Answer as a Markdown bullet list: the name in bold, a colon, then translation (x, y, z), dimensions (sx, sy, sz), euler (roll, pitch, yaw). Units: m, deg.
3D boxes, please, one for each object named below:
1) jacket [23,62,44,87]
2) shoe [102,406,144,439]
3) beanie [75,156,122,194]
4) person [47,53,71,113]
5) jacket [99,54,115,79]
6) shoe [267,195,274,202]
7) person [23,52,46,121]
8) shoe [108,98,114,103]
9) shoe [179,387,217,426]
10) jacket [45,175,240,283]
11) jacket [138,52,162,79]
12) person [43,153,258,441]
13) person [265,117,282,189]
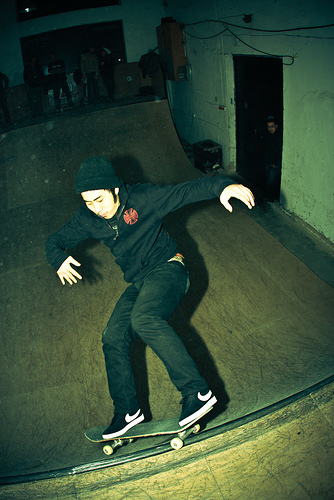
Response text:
- **jacket**: translation (-2.433, -3.135, 7.603), dimensions (0.353, 0.391, 0.273), euler (-13, 23, -14)
- **shoe**: translation (-0.228, 0.874, 2.189), dimensions (0.238, 0.103, 0.076), euler (-12, -17, -43)
- **beanie**: translation (-0.397, -0.424, 2.377), dimensions (0.237, 0.178, 0.210), euler (-7, 22, -1)
- **person**: translation (-2.232, -3.435, 8.689), dimensions (0.343, 1.024, 1.852), euler (-11, 22, -9)
- **jacket**: translation (-1.296, -3.874, 8.945), dimensions (0.323, 0.473, 0.227), euler (-10, 23, -7)
- **shoe**: translation (1.293, -0.659, 5.317), dimensions (0.060, 0.056, 0.015), euler (-5, -24, 39)
- **person**: translation (-2.443, -3.005, 7.799), dimensions (0.389, 1.058, 0.630), euler (-13, 23, -14)
- **shoe**: translation (-1.237, -3.250, 9.169), dimensions (0.130, 0.082, 0.586), euler (-9, 22, -5)
- **shoe**: translation (0.147, 0.754, 2.128), dimensions (0.274, 0.121, 0.088), euler (-21, -19, -38)
- **jacket**: translation (-0.187, -0.134, 2.579), dimensions (1.217, 0.645, 0.332), euler (-2, 23, 10)
- **jacket**: translation (-0.269, -3.923, 8.997), dimensions (0.500, 0.635, 0.475), euler (-20, 33, -22)
- **person**: translation (-0.118, 0.330, 2.676), dimensions (1.182, 0.728, 1.473), euler (-38, 44, 26)
- **person**: translation (1.281, -1.149, 5.118), dimensions (0.104, 0.882, 0.353), euler (-9, 22, -2)
